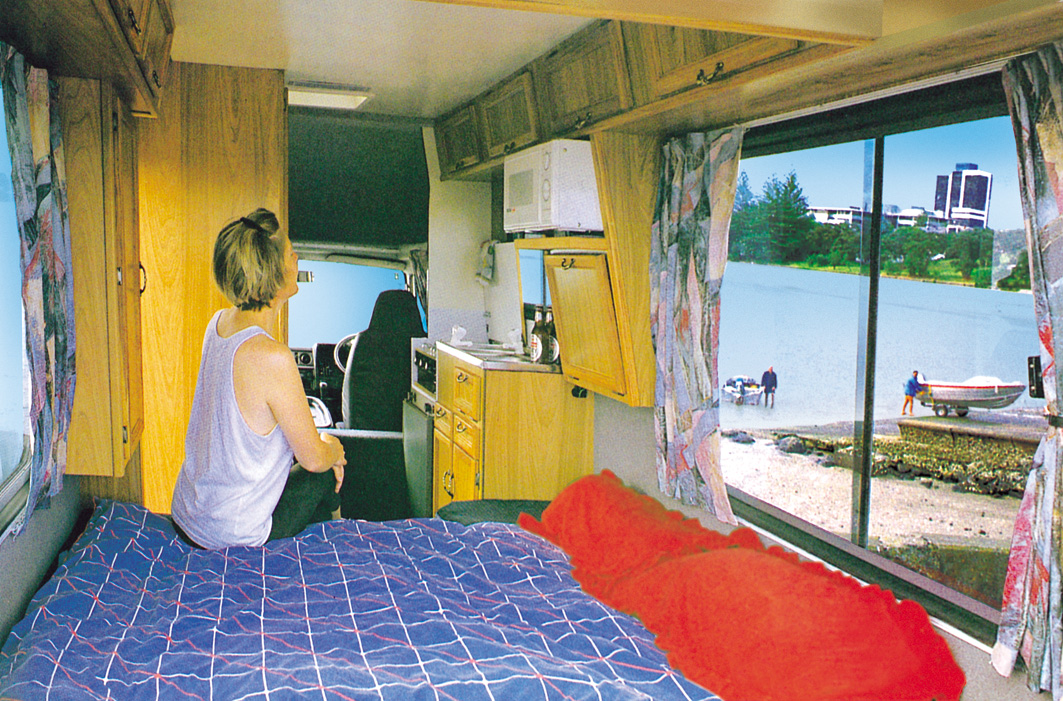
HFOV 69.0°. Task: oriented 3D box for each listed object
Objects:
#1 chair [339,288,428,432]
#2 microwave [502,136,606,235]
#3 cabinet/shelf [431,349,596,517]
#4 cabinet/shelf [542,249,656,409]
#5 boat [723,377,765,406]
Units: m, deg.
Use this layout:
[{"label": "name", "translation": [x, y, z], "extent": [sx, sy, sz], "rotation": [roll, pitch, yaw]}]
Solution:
[{"label": "chair", "translation": [-1.281, -0.010, 6.383], "extent": [0.777, 1.141, 0.712], "rotation": [-14, 30, -40]}, {"label": "microwave", "translation": [0.116, -0.872, 4.252], "extent": [0.364, 0.420, 0.660], "rotation": [-1, 7, -24]}, {"label": "cabinet/shelf", "translation": [-0.158, 0.690, 4.898], "extent": [0.828, 1.312, 1.017], "rotation": [-1, 3, -32]}, {"label": "cabinet/shelf", "translation": [0.393, -0.153, 4.101], "extent": [0.321, 0.738, 0.830], "rotation": [-12, 8, -20]}, {"label": "boat", "translation": [0.950, 0.180, 3.509], "extent": [0.006, 0.129, 0.250], "rotation": [-3, 8, -30]}]
